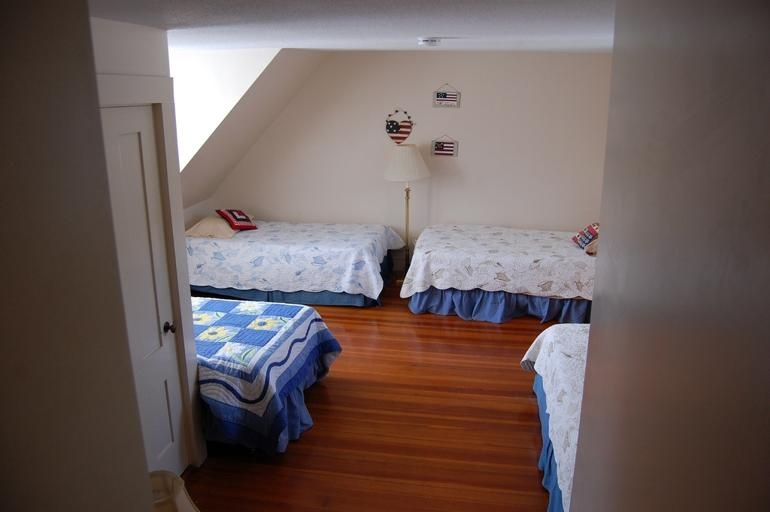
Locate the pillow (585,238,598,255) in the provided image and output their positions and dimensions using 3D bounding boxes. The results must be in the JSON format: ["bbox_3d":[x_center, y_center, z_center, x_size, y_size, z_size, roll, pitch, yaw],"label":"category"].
[{"bbox_3d":[1.824,-0.080,4.685,0.089,0.127,0.168,2,9,12],"label":"pillow"}]

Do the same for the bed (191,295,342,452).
[{"bbox_3d":[-0.695,0.661,2.938,0.806,0.233,0.714,3,15,9],"label":"bed"}]

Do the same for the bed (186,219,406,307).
[{"bbox_3d":[-0.917,0.041,5.186,1.329,0.335,0.988,1,18,7],"label":"bed"}]

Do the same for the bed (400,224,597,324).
[{"bbox_3d":[1.052,0.149,4.842,1.281,0.410,0.877,6,24,10],"label":"bed"}]
